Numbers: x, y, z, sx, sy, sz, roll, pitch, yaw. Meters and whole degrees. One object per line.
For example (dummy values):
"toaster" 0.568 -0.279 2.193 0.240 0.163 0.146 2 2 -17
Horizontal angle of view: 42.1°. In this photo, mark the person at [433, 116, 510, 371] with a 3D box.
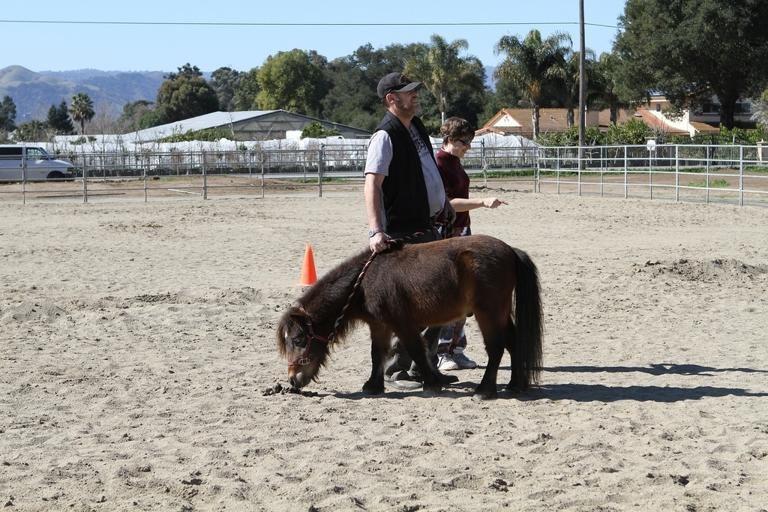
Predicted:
"person" 1.029 -0.165 11.902 0.949 3.023 0.940 2 4 20

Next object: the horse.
"horse" 0.314 0.755 11.161 2.920 1.769 0.788 -4 2 -2

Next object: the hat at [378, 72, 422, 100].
"hat" 0.162 -1.869 11.043 0.396 0.206 0.278 -10 13 6

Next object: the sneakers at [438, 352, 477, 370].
"sneakers" 0.886 1.230 11.858 0.430 0.193 0.200 -1 2 -4
